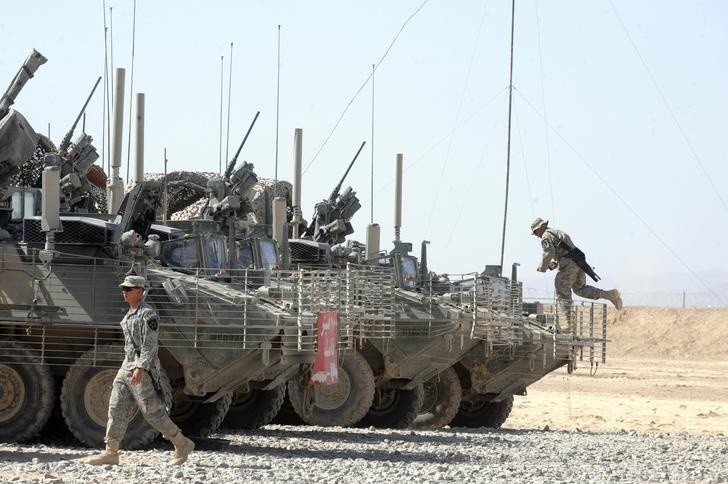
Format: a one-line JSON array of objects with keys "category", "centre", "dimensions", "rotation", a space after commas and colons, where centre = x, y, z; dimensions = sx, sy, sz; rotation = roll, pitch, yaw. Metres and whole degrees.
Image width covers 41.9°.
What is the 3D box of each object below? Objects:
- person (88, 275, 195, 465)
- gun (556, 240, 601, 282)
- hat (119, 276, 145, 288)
[{"category": "person", "centre": [-2.715, 1.557, 11.674], "dimensions": [1.111, 2.313, 0.515], "rotation": [3, -4, -11]}, {"category": "gun", "centre": [3.654, 0.349, 16.767], "dimensions": [0.904, 0.272, 0.168], "rotation": [47, -4, -6]}, {"category": "hat", "centre": [-2.801, 0.479, 11.728], "dimensions": [0.185, 0.102, 0.260], "rotation": [2, 3, 28]}]
